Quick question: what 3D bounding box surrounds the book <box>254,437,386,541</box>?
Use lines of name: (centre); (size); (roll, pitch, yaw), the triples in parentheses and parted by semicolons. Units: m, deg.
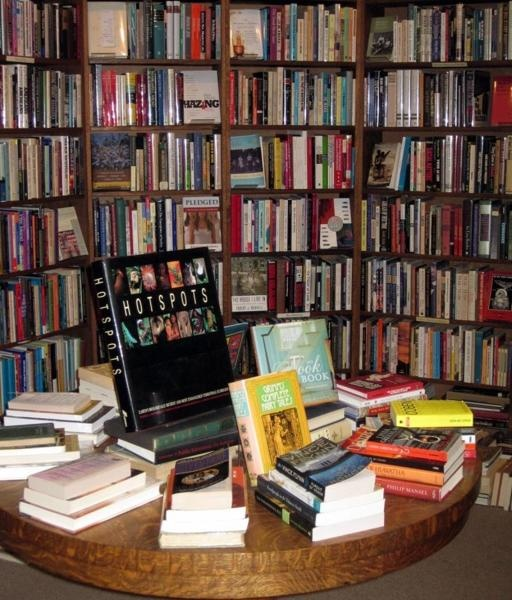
book: (0.114, 0.332, 1.126); (0.129, 0.098, 0.169); (-6, 16, -29)

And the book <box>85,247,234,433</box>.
book: (-0.188, 0.076, 1.418); (0.349, 0.369, 0.125); (-17, 15, -43)

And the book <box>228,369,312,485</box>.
book: (-0.003, 0.270, 1.320); (0.213, 0.199, 0.050); (-15, 1, -44)

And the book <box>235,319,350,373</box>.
book: (0.217, 0.381, 3.738); (0.635, 0.544, 0.347); (-1, 3, -15)
